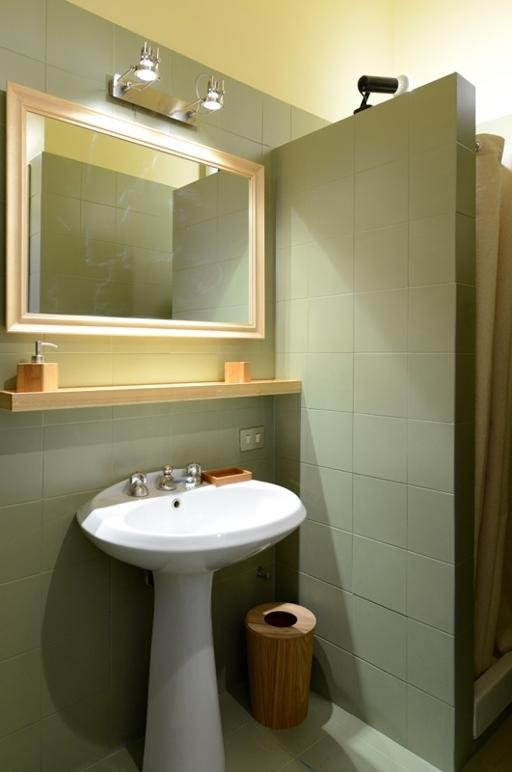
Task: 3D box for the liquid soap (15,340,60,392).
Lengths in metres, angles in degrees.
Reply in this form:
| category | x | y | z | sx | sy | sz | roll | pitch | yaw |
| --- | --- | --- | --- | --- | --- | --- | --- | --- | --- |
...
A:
| category | x | y | z | sx | sy | sz | roll | pitch | yaw |
| --- | --- | --- | --- | --- | --- | --- | --- | --- | --- |
| liquid soap | -0.523 | -0.048 | 1.297 | 0.097 | 0.126 | 0.193 | -1 | 1 | -23 |

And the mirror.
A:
| category | x | y | z | sx | sy | sz | roll | pitch | yaw |
| --- | --- | --- | --- | --- | --- | --- | --- | --- | --- |
| mirror | -0.357 | -0.498 | 1.537 | 0.031 | 0.665 | 0.703 | 1 | 0 | 41 |

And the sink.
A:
| category | x | y | z | sx | sy | sz | roll | pitch | yaw |
| --- | --- | --- | --- | --- | --- | --- | --- | --- | --- |
| sink | -0.145 | 0.341 | 1.409 | 0.569 | 0.169 | 0.486 | -1 | 1 | -42 |
